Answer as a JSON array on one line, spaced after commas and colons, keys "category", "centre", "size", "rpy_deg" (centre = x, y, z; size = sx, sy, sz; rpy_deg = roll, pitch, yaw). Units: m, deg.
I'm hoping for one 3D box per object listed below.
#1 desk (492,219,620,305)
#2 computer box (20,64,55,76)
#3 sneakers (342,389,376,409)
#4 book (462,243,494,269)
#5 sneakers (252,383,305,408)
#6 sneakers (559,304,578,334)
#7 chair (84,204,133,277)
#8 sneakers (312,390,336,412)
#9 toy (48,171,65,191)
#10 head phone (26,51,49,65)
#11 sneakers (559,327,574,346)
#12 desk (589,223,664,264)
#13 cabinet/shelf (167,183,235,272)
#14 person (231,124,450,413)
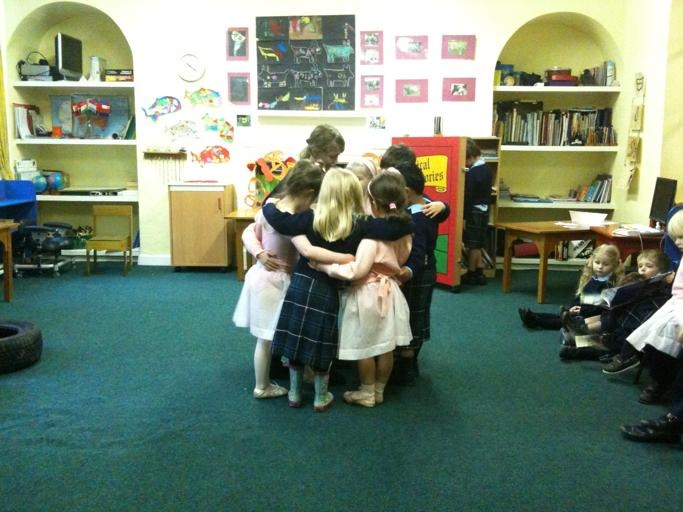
[{"category": "desk", "centre": [2.218, -0.048, 5.635], "size": [1.014, 0.739, 0.781], "rpy_deg": [-3, 9, -15]}, {"category": "computer box", "centre": [-3.882, -2.359, 6.892], "size": [0.322, 0.181, 0.287], "rpy_deg": [14, 19, 42]}, {"category": "sneakers", "centre": [0.118, 0.891, 3.453], "size": [0.183, 0.124, 0.095], "rpy_deg": [4, 3, 25]}, {"category": "book", "centre": [1.736, 0.020, 6.751], "size": [0.331, 0.322, 0.084], "rpy_deg": [3, -9, -30]}, {"category": "sneakers", "centre": [-0.391, 0.886, 3.471], "size": [0.362, 0.151, 0.125], "rpy_deg": [-1, 4, -8]}, {"category": "sneakers", "centre": [1.856, 0.488, 4.400], "size": [0.120, 0.231, 0.350], "rpy_deg": [10, 15, 27]}, {"category": "chair", "centre": [-2.866, -0.199, 6.586], "size": [0.485, 0.695, 0.505], "rpy_deg": [-3, 6, -32]}, {"category": "sneakers", "centre": [-0.109, 0.906, 3.405], "size": [0.062, 0.118, 0.178], "rpy_deg": [1, 9, 17]}, {"category": "toy", "centre": [-3.745, -0.986, 7.116], "size": [0.212, 0.234, 0.258], "rpy_deg": [-7, 16, -27]}, {"category": "head phone", "centre": [-4.016, -2.594, 7.110], "size": [0.212, 0.118, 0.277], "rpy_deg": [-4, 32, -27]}, {"category": "sneakers", "centre": [1.751, 0.623, 4.201], "size": [0.125, 0.119, 0.100], "rpy_deg": [-1, 0, -37]}, {"category": "desk", "centre": [2.650, -0.164, 5.020], "size": [0.392, 0.380, 0.404], "rpy_deg": [-2, 11, 0]}, {"category": "cabinet/shelf", "centre": [-1.663, -0.406, 7.007], "size": [0.812, 1.059, 0.843], "rpy_deg": [2, 8, 16]}, {"category": "person", "centre": [0.052, -0.005, 3.680], "size": [0.985, 1.707, 1.314], "rpy_deg": [10, 17, 32]}]
